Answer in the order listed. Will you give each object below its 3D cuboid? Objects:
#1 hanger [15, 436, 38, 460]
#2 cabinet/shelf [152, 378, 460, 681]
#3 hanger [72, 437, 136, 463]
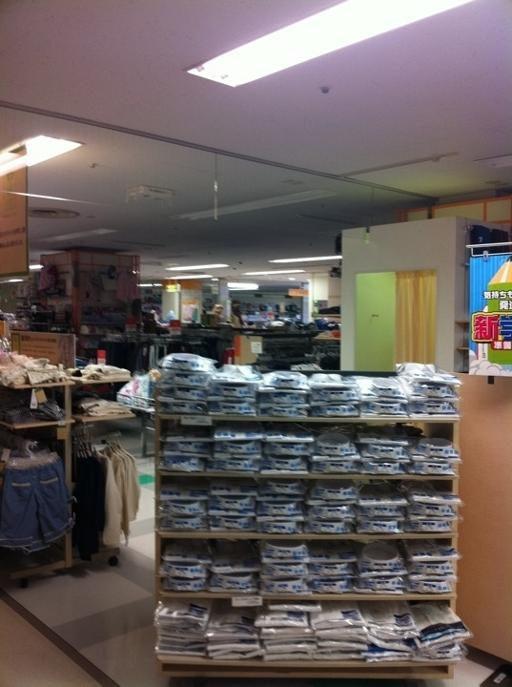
[{"bbox_3d":[-1.490,0.684,3.665,0.133,0.093,0.245,0,3,-22],"label":"hanger"},{"bbox_3d":[0.222,0.846,2.510,1.574,1.330,0.586,0,2,0],"label":"cabinet/shelf"},{"bbox_3d":[-1.163,0.760,4.059,0.254,0.079,0.191,5,1,-45],"label":"hanger"}]
